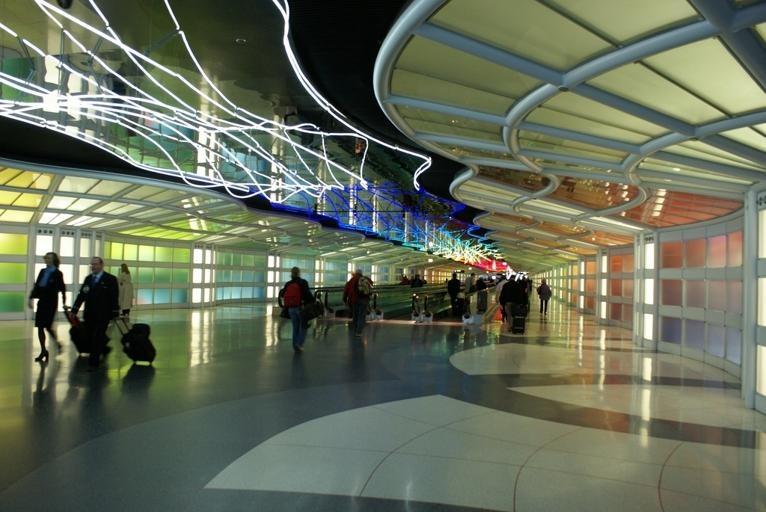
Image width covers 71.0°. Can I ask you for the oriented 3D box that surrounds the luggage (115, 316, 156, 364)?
[{"bbox_3d":[-5.692,1.795,12.170,0.902,0.870,0.724,-4,-7,-5],"label":"luggage"}]

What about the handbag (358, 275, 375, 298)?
[{"bbox_3d":[-0.536,0.952,16.674,0.379,0.725,0.604,2,8,5],"label":"handbag"}]

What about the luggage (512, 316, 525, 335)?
[{"bbox_3d":[4.710,2.344,18.628,0.398,0.606,0.250,2,9,4],"label":"luggage"}]

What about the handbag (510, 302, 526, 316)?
[{"bbox_3d":[4.654,1.841,18.527,0.489,0.440,0.776,0,-2,16],"label":"handbag"}]

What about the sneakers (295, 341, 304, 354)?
[{"bbox_3d":[-2.110,2.315,13.797,0.162,0.222,0.400,0,-5,8],"label":"sneakers"}]

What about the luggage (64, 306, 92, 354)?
[{"bbox_3d":[-7.331,1.807,12.908,0.441,1.109,0.949,-26,29,-32],"label":"luggage"}]
